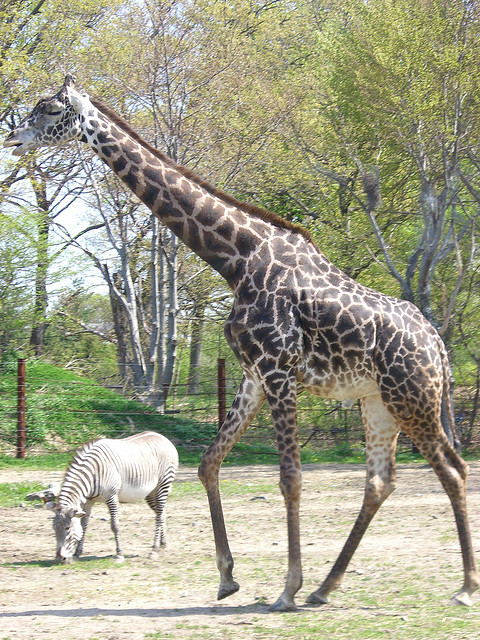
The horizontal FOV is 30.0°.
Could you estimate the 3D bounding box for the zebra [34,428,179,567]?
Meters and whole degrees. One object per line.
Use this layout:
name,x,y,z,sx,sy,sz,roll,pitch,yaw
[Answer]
zebra,-1.317,1.794,8.983,0.766,1.188,2.127,1,1,24
